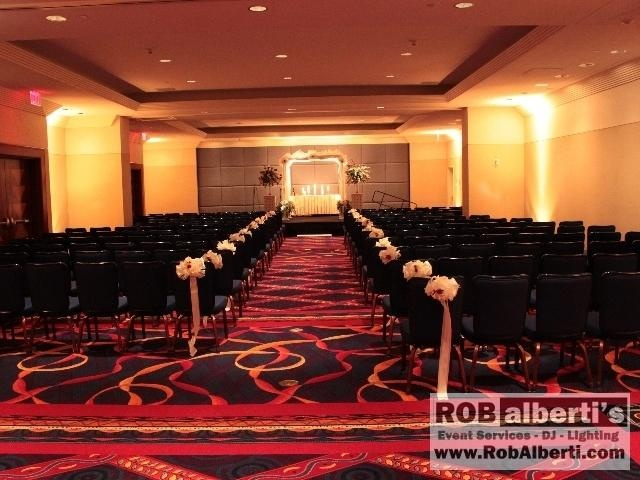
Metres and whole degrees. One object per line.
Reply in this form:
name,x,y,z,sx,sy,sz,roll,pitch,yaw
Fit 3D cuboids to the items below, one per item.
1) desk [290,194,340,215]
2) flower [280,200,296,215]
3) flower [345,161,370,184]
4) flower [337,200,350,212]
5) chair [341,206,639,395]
desk,-0.198,-1.716,23.350,2.247,0.984,0.999,-2,9,-2
flower,-1.402,-1.418,20.647,0.879,0.641,0.712,-2,4,-33
flower,1.684,-2.984,21.569,1.734,0.870,1.450,2,7,-3
flower,1.061,-1.467,20.691,0.755,0.530,0.627,-1,9,-3
chair,2.340,0.658,6.263,2.159,0.973,3.470,0,4,2
